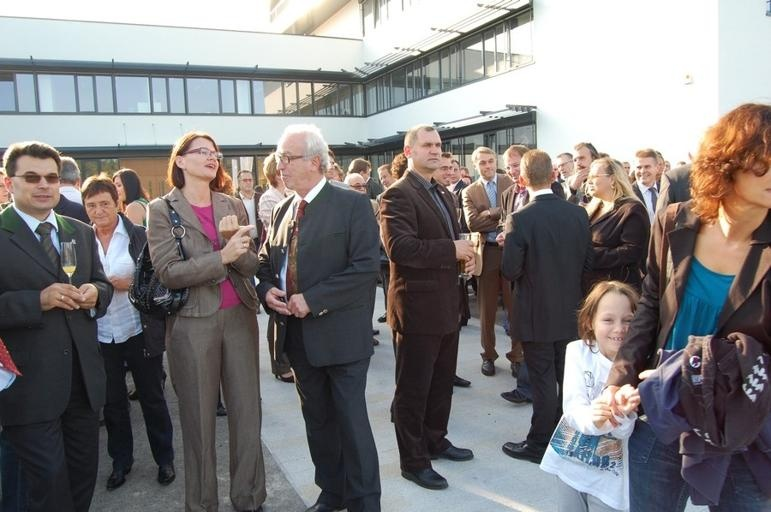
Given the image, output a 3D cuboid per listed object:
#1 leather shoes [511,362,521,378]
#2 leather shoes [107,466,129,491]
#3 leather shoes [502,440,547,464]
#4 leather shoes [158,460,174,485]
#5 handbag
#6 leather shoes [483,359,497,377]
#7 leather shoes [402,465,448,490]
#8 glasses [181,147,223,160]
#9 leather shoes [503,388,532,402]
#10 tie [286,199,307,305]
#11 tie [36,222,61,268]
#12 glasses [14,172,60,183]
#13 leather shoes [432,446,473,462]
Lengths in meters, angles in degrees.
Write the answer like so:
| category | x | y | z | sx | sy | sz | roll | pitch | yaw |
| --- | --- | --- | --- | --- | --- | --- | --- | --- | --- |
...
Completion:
| category | x | y | z | sx | sy | sz | roll | pitch | yaw |
| --- | --- | --- | --- | --- | --- | --- | --- | --- | --- |
| leather shoes | 1.391 | 1.211 | 6.248 | 0.060 | 0.190 | 0.078 | 6 | 2 | 13 |
| leather shoes | -2.101 | 1.744 | 4.588 | 0.077 | 0.088 | 0.208 | 4 | 5 | 4 |
| leather shoes | 1.108 | 1.554 | 4.737 | 0.360 | 0.171 | 0.130 | 9 | 6 | 32 |
| leather shoes | -1.741 | 1.713 | 4.647 | 0.140 | 0.111 | 0.227 | -6 | 11 | -24 |
| handbag | -1.601 | 0.184 | 4.087 | 0.410 | 0.518 | 0.223 | 6 | 12 | 37 |
| leather shoes | 1.132 | 1.224 | 6.387 | 0.151 | 0.163 | 0.406 | 0 | -3 | 8 |
| leather shoes | 0.303 | 1.651 | 4.436 | 0.309 | 0.142 | 0.138 | 2 | 7 | 32 |
| glasses | -1.306 | -0.738 | 4.244 | 0.312 | 0.087 | 0.122 | -10 | 13 | -42 |
| leather shoes | 1.259 | 1.325 | 5.607 | 0.238 | 0.100 | 0.127 | 6 | -2 | 17 |
| tie | -0.627 | -0.049 | 4.100 | 0.143 | 0.665 | 0.169 | 4 | 11 | 30 |
| tie | -2.239 | -0.081 | 3.890 | 0.070 | 0.298 | 0.161 | -16 | -6 | 28 |
| glasses | -2.296 | -0.507 | 3.851 | 0.252 | 0.074 | 0.088 | -8 | 12 | -35 |
| leather shoes | 0.545 | 1.584 | 4.679 | 0.249 | 0.095 | 0.134 | -3 | -2 | 3 |
